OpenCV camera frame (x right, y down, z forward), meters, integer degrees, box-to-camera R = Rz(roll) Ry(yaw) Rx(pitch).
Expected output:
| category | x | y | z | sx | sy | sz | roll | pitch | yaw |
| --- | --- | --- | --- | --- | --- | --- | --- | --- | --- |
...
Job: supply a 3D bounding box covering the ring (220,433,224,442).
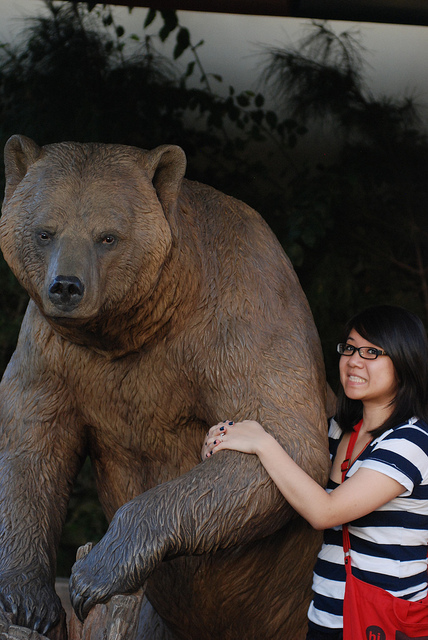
| category | x | y | z | sx | sy | sz | roll | pitch | yaw |
| --- | --- | --- | --- | --- | --- | --- | --- | --- | --- |
| ring | 0.022 | 0.353 | 1.957 | 0.006 | 0.022 | 0.017 | -5 | -13 | -5 |
